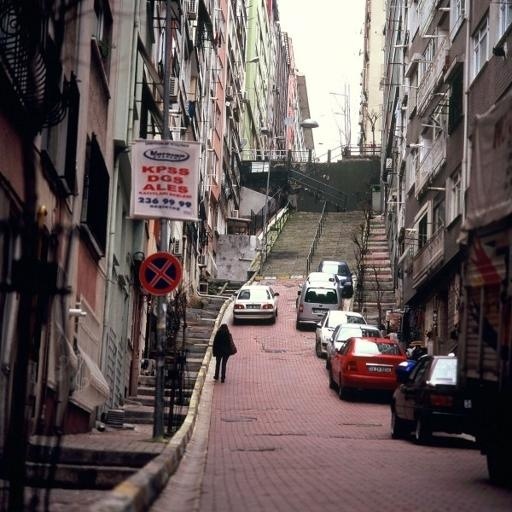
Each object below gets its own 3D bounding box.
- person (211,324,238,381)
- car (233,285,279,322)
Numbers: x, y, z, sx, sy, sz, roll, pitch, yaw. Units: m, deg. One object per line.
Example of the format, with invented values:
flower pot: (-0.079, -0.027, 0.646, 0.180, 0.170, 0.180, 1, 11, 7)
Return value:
person: (-1.043, 3.056, 21.132, 0.671, 1.814, 1.545, 0, -5, -4)
car: (-0.092, 2.396, 33.225, 2.304, 1.940, 2.055, 2, -6, -18)
